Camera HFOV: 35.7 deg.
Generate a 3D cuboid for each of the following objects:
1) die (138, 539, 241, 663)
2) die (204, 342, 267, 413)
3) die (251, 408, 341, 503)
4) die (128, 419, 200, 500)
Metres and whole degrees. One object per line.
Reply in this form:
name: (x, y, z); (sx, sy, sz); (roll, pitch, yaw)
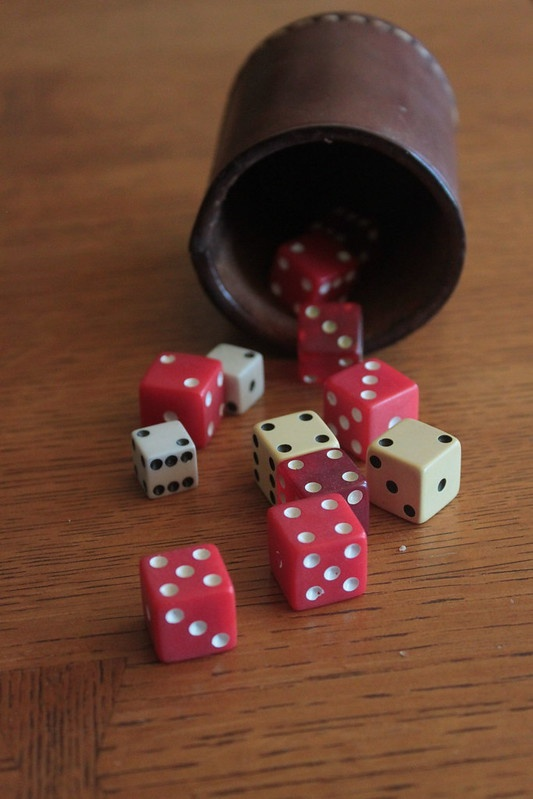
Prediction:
die: (-0.118, 0.295, 1.239); (0.124, 0.135, 0.138); (-12, 40, -11)
die: (-0.076, -0.047, 1.911); (0.147, 0.135, 0.148); (14, 27, 32)
die: (0.053, 0.104, 1.582); (0.136, 0.111, 0.117); (-9, 46, -13)
die: (-0.189, 0.114, 1.619); (0.139, 0.128, 0.143); (26, 37, 35)
